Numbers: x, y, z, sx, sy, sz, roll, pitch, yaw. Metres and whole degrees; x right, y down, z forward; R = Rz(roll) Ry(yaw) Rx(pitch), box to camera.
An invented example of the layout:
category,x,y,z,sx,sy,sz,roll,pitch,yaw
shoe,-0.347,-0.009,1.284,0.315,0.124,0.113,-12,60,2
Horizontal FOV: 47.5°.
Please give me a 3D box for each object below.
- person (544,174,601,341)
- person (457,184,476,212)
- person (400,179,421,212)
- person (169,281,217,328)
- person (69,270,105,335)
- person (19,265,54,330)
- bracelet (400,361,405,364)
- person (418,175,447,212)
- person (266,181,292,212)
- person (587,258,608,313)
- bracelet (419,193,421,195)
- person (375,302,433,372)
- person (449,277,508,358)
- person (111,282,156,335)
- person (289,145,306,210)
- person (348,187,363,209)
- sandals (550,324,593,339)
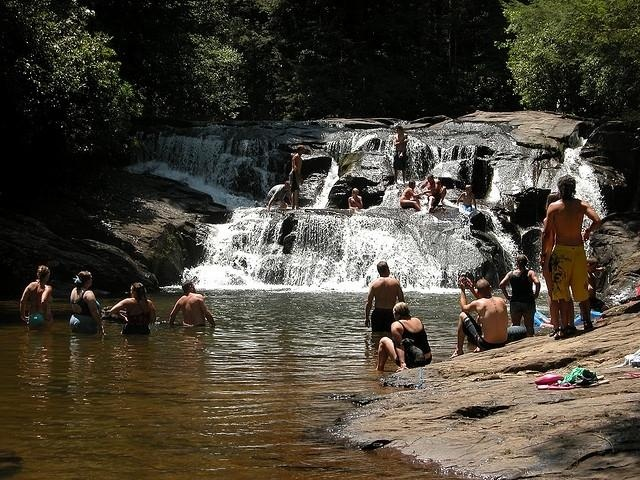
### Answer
category,x,y,z,sx,sy,sz,roll,pitch,yaw
person,3.179,0.244,9.276,0.669,2.114,0.434,0,2,16
person,5.612,-1.536,27.620,0.674,1.128,1.319,0,2,3
person,3.518,-1.687,28.122,0.794,1.155,0.927,0,2,6
person,-2.599,1.308,14.759,0.690,0.979,1.010,-1,2,-24
person,-4.293,1.185,13.459,0.588,1.255,1.395,-1,2,-18
person,-5.805,1.121,14.887,0.548,1.339,3.554,-1,2,-22
bracelet,1.195,1.790,10.478,0.034,0.034,0.054,0,-9,-11
person,4.397,-1.761,28.043,0.903,1.457,1.998,0,2,6
person,-1.601,-1.736,28.863,0.834,1.105,2.043,0,2,-2
person,5.094,0.814,13.450,0.339,0.999,0.282,7,30,42
bracelet,3.924,-1.796,28.507,0.093,0.046,0.133,0,-5,9
person,1.217,1.458,10.590,0.821,1.015,0.568,1,2,20
person,2.403,1.163,10.750,0.646,1.160,0.852,-1,2,-31
person,-3.540,1.297,13.844,1.040,0.988,0.493,2,2,45
person,-0.839,-2.360,29.086,0.799,1.025,3.064,-7,-29,-11
person,1.409,-1.574,28.564,0.491,0.793,0.597,0,2,-1
sandals,3.244,1.200,9.379,0.548,0.232,0.195,-1,-8,-32
